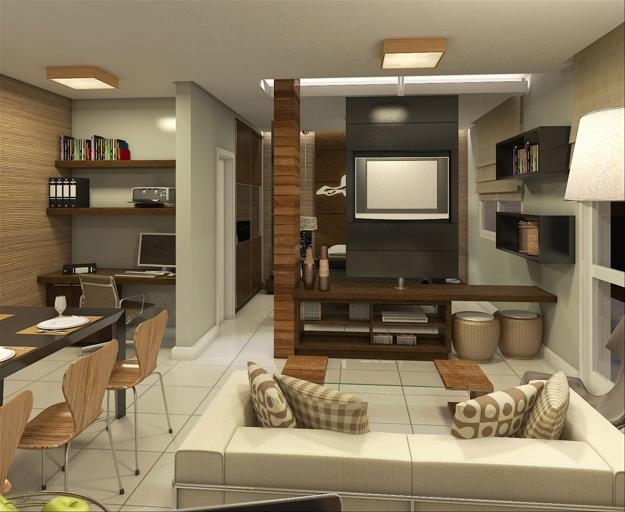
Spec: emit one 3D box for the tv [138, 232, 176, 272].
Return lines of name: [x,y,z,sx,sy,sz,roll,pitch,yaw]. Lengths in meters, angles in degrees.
tv: [-1.786,-0.049,5.485,0.140,0.421,0.521,8,4,39]

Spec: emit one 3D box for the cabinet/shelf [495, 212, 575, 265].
cabinet/shelf: [2.192,-0.225,4.850,0.308,0.432,1.357,0,7,3]

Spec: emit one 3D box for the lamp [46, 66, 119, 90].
lamp: [-2.094,-1.630,4.444,0.562,0.131,0.468,2,8,16]

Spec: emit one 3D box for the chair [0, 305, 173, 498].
chair: [-1.542,0.775,2.926,1.179,0.569,0.980,2,4,10]

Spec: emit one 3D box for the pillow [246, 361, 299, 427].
pillow: [-0.199,0.684,2.387,0.115,0.207,0.324,-11,8,-23]

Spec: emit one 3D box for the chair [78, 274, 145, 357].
chair: [-1.906,0.509,4.609,0.661,0.718,0.642,2,-9,-31]

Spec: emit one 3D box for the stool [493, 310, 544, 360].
stool: [2.104,0.788,4.936,0.525,0.414,0.476,1,7,25]

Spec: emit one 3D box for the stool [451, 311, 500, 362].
stool: [1.556,0.761,4.725,0.484,0.427,0.480,1,1,12]

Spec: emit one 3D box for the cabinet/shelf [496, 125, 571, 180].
cabinet/shelf: [2.092,-0.976,4.649,0.282,0.310,0.840,3,1,-7]

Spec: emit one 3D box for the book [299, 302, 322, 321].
book: [-0.009,0.545,4.930,0.255,0.226,0.173,0,-1,1]

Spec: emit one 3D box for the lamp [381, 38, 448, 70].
lamp: [0.777,-1.577,3.801,0.478,0.117,0.493,0,7,2]

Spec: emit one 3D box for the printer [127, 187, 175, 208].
printer: [-1.730,-0.650,5.246,0.301,0.134,0.272,0,0,-4]

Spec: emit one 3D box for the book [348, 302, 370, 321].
book: [0.478,0.528,4.943,0.299,0.266,0.155,0,0,4]
